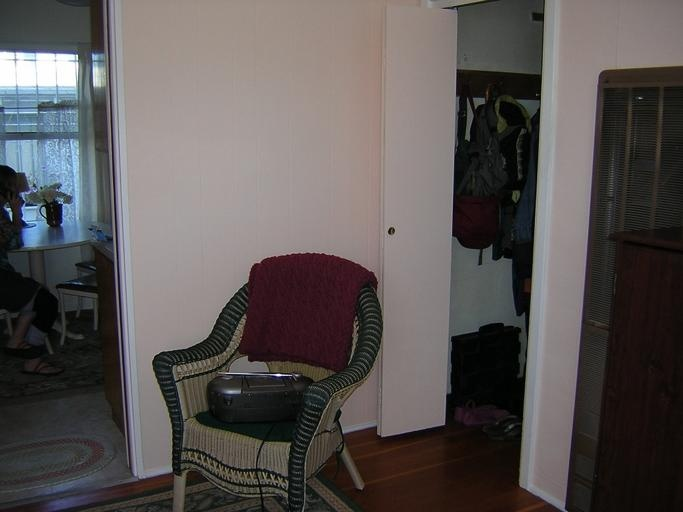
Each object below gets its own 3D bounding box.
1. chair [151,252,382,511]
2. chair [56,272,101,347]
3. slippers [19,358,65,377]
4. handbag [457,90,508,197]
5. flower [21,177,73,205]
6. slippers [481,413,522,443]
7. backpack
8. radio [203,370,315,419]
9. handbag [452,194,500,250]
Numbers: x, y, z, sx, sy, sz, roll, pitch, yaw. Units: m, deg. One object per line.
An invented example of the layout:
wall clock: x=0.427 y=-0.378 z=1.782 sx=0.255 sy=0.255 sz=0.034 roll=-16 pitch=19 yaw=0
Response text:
chair: x=-0.286 y=0.530 z=2.854 sx=1.074 sy=1.390 sz=1.090 roll=4 pitch=9 yaw=28
chair: x=-2.105 y=0.454 z=4.604 sx=0.382 sy=0.407 sz=0.311 roll=-2 pitch=-1 yaw=-26
slippers: x=-2.195 y=0.791 z=4.185 sx=0.256 sy=0.104 sz=0.137 roll=1 pitch=13 yaw=-8
handbag: x=0.842 y=-0.668 z=3.439 sx=0.360 sy=0.556 sz=0.182 roll=-2 pitch=3 yaw=6
flower: x=-2.650 y=-0.559 z=5.256 sx=0.346 sy=0.176 sz=0.374 roll=-1 pitch=4 yaw=-6
slippers: x=0.956 y=1.006 z=3.351 sx=0.149 sy=0.060 sz=0.116 roll=-3 pitch=19 yaw=-18
backpack: x=1.025 y=-0.725 z=3.524 sx=0.206 sy=0.662 sz=0.298 roll=-15 pitch=12 yaw=-8
radio: x=-0.374 y=0.613 z=2.557 sx=0.344 sy=0.141 sz=0.222 roll=3 pitch=-1 yaw=-11
handbag: x=0.846 y=-0.252 z=3.652 sx=0.287 sy=0.364 sz=0.366 roll=-3 pitch=15 yaw=5
